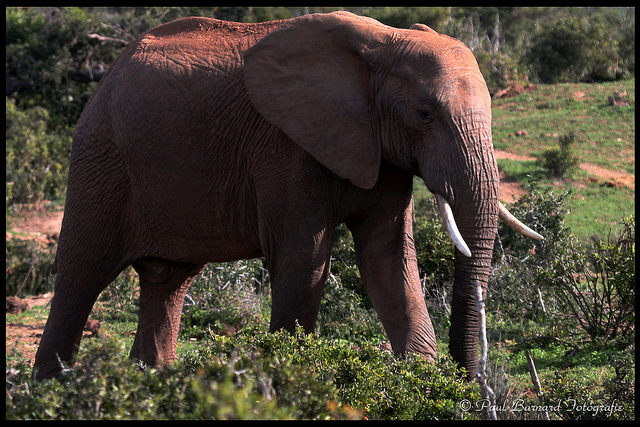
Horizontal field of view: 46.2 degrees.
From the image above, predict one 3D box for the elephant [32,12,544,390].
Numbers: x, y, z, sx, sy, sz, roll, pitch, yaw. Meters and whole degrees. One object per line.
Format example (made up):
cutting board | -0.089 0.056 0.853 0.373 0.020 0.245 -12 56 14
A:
elephant | -0.648 0.017 9.806 6.387 4.801 2.988 1 5 15
